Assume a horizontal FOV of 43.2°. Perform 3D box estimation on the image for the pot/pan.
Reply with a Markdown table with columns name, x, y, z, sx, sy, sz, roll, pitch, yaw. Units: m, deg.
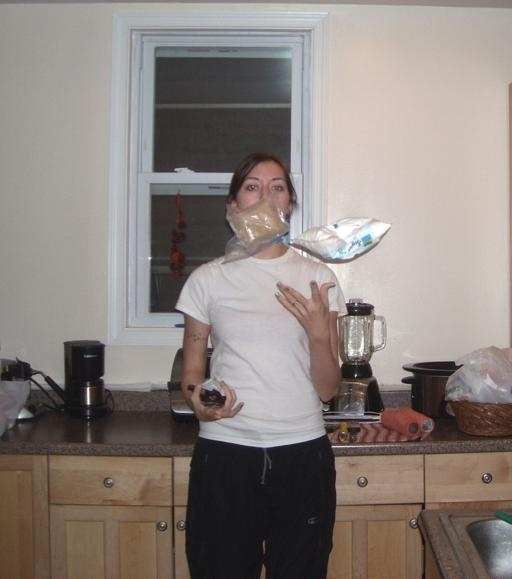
| name | x | y | z | sx | sy | sz | roll | pitch | yaw |
| --- | --- | --- | --- | --- | --- | --- | --- | --- | --- |
| pot/pan | 0.669 | 0.361 | 2.450 | 0.277 | 0.175 | 0.218 | -1 | -4 | 0 |

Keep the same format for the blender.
| name | x | y | z | sx | sy | sz | roll | pitch | yaw |
| --- | --- | --- | --- | --- | --- | --- | --- | --- | --- |
| blender | 0.373 | 0.273 | 2.528 | 0.299 | 0.444 | 0.211 | 4 | 3 | -14 |

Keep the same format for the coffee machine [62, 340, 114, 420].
| name | x | y | z | sx | sy | sz | roll | pitch | yaw |
| --- | --- | --- | --- | --- | --- | --- | --- | --- | --- |
| coffee machine | -0.644 | 0.343 | 2.448 | 0.165 | 0.283 | 0.138 | 0 | 5 | -15 |

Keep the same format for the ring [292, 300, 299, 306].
| name | x | y | z | sx | sy | sz | roll | pitch | yaw |
| --- | --- | --- | --- | --- | --- | --- | --- | --- | --- |
| ring | 0.096 | 0.035 | 1.589 | 0.016 | 0.013 | 0.004 | 3 | 3 | 4 |
